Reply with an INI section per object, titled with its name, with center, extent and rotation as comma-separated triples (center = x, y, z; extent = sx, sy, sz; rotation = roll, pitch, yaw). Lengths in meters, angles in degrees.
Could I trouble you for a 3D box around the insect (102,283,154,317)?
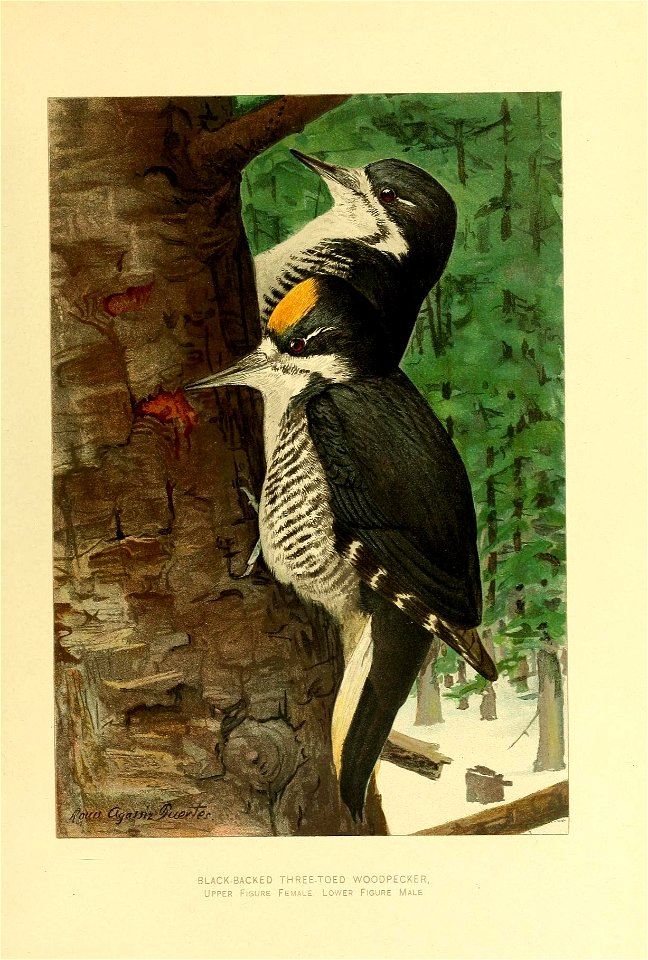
[insect]
center = -0.380, -0.356, 2.949
extent = 0.105, 0.050, 0.024
rotation = -20, -2, 4
